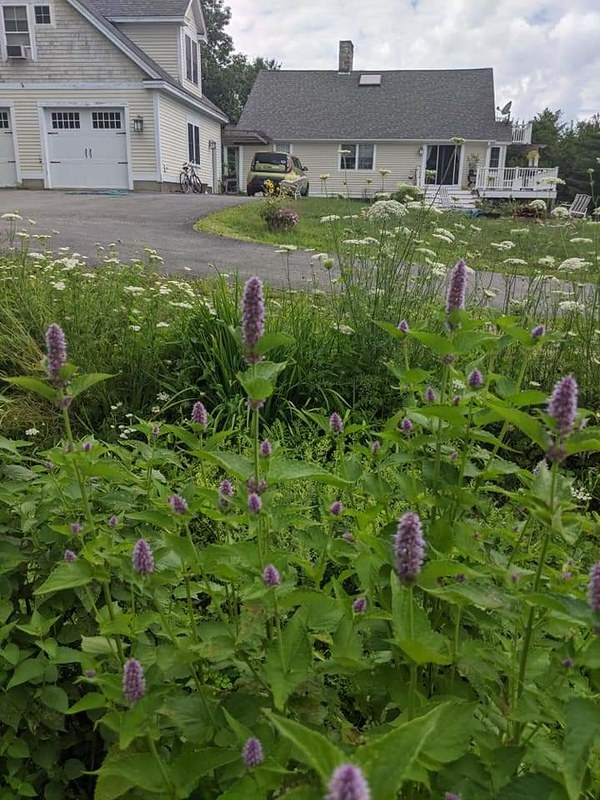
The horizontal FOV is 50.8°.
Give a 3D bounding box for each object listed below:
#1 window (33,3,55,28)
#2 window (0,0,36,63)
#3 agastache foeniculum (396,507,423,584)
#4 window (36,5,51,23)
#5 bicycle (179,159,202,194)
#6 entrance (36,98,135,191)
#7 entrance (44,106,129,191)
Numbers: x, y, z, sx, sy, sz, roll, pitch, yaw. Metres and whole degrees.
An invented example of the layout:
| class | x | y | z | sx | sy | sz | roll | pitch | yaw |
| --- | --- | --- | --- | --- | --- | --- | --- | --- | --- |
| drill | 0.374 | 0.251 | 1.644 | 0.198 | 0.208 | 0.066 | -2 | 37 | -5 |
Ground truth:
| class | x | y | z | sx | sy | sz | roll | pitch | yaw |
| --- | --- | --- | --- | --- | --- | --- | --- | --- | --- |
| window | -10.320 | -15.680 | 25.632 | 1.030 | 1.149 | 0.111 | -3 | -20 | -6 |
| window | -11.674 | -15.205 | 26.022 | 1.480 | 2.178 | 0.665 | 11 | 16 | 27 |
| agastache foeniculum | 0.216 | 0.290 | 1.255 | 0.053 | 0.157 | 0.048 | 5 | 15 | 7 |
| window | -10.368 | -15.791 | 25.710 | 0.666 | 0.730 | 0.056 | 15 | 41 | 8 |
| bicycle | -5.193 | -10.458 | 30.064 | 0.905 | 1.792 | 1.112 | 3 | -9 | 5 |
| entrance | -8.927 | -10.874 | 26.360 | 4.425 | 4.115 | 0.719 | 2 | 24 | 1 |
| entrance | -8.911 | -10.718 | 26.402 | 4.220 | 4.043 | 0.533 | 1 | 28 | 0 |
